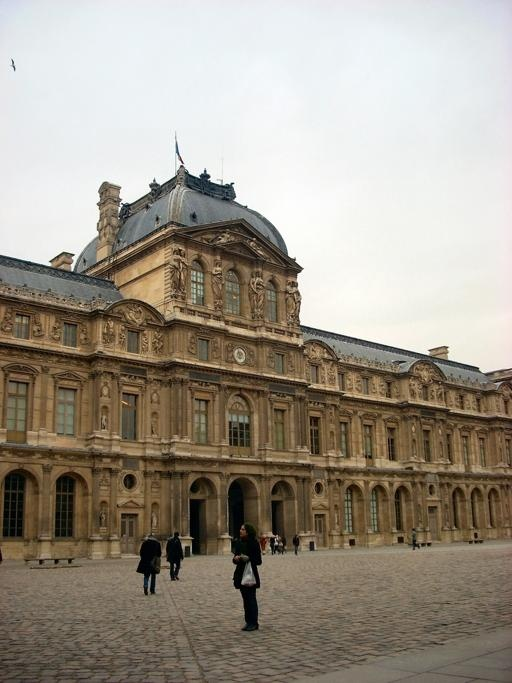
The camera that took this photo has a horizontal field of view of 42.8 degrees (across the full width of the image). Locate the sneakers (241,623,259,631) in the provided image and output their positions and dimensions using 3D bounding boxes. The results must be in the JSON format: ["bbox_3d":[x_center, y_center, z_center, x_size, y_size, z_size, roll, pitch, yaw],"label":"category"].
[{"bbox_3d":[-0.086,5.182,11.903,0.121,0.093,0.222,-11,-32,25],"label":"sneakers"}]

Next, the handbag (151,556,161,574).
[{"bbox_3d":[-2.979,6.717,19.669,0.165,0.463,0.527,-4,-14,3],"label":"handbag"}]

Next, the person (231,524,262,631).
[{"bbox_3d":[-0.143,4.467,12.518,0.522,1.871,1.176,-3,-14,-2],"label":"person"}]
